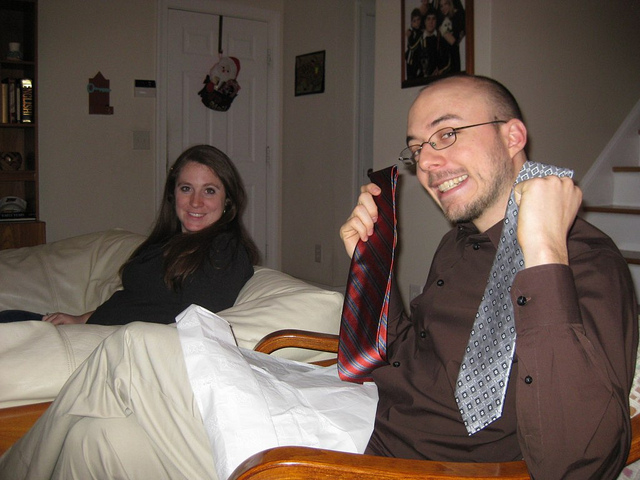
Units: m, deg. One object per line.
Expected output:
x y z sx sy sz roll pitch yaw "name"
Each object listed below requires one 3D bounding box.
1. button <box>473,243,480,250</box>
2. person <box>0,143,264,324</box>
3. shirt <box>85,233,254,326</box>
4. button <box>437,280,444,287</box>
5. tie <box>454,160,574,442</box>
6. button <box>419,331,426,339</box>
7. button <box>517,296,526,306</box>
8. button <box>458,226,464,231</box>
0.439 0.019 1.424 0.015 0.016 0.004 -3 -16 23 "button"
-0.733 -0.026 2.394 1.195 0.938 0.661 1 -1 -28 "person"
-0.595 0.209 2.113 0.474 0.485 0.450 13 -4 -23 "shirt"
0.347 0.124 1.461 0.014 0.016 0.004 -3 -17 22 "button"
0.474 0.116 1.231 0.016 0.848 0.184 12 1 -38 "tie"
0.298 0.275 1.467 0.016 0.018 0.004 0 1 34 "button"
0.443 0.132 1.102 0.016 0.018 0.004 -7 2 7 "button"
0.431 -0.035 1.551 0.008 0.009 0.009 13 18 3 "button"
